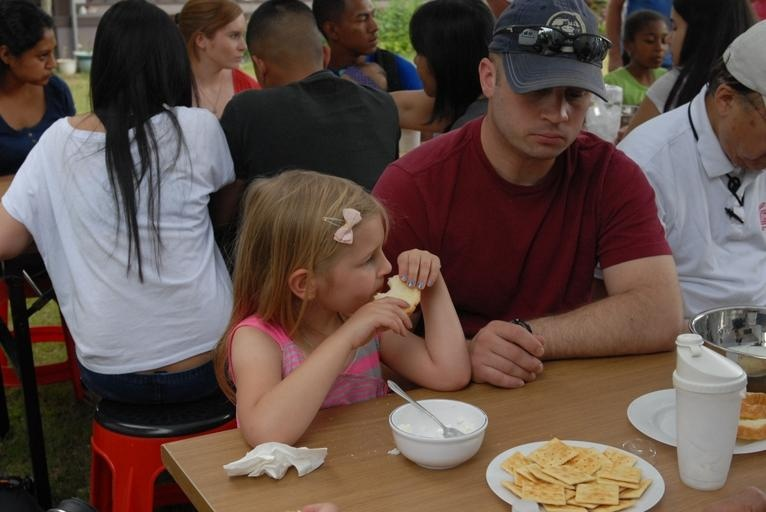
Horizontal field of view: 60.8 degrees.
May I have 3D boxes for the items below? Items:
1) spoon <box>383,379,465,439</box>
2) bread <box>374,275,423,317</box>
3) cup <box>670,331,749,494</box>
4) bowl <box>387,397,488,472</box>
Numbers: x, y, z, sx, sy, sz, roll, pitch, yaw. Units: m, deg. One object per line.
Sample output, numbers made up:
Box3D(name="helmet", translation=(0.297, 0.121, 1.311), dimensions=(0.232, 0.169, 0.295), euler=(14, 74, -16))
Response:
Box3D(name="spoon", translation=(0.145, 0.547, 2.160), dimensions=(0.045, 0.351, 0.070), euler=(-38, -6, -15))
Box3D(name="bread", translation=(0.061, 0.154, 2.509), dimensions=(0.166, 0.132, 0.227), euler=(-5, 17, 4))
Box3D(name="cup", translation=(0.983, 0.485, 1.954), dimensions=(0.211, 0.435, 0.199), euler=(1, 1, 0))
Box3D(name="bowl", translation=(0.182, 0.574, 2.100), dimensions=(0.309, 0.144, 0.216), euler=(-7, 17, -2))
